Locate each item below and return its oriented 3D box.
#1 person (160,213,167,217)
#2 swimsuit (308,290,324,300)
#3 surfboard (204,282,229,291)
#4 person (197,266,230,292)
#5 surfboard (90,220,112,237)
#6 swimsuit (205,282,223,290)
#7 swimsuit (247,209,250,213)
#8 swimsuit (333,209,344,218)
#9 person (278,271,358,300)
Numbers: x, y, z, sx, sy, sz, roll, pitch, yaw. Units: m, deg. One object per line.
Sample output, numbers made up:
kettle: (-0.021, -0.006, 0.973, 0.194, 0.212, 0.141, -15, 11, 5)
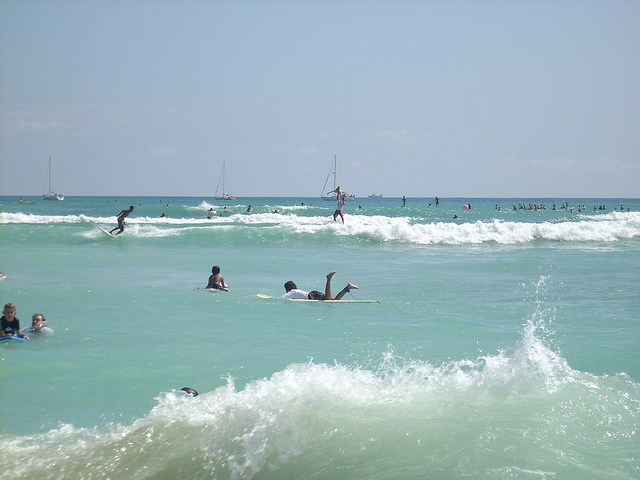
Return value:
person: (-13.020, -2.110, 60.296, 0.240, 0.291, 0.734, 11, -17, -35)
swimsuit: (-0.125, 1.593, 21.162, 0.273, 0.274, 0.126, 9, -12, -4)
surfboard: (-3.167, 1.416, 21.947, 0.774, 0.296, 0.224, 1, -1, -5)
person: (-3.132, 1.235, 21.945, 0.940, 0.664, 0.617, -10, 20, -37)
surfboard: (-11.379, -0.556, 38.078, 0.852, 0.724, 4.821, 4, 0, -17)
swimsuit: (-3.196, 1.386, 21.889, 0.532, 0.210, 0.100, 4, 0, 19)
swimsuit: (-6.716, -2.754, 67.995, 0.260, 0.265, 0.263, 1, -5, 0)
swimsuit: (0.967, -1.494, 39.823, 0.373, 0.431, 0.319, 2, 2, 33)
person: (-0.200, 1.508, 21.246, 1.435, 0.536, 1.083, 1, -13, 14)
